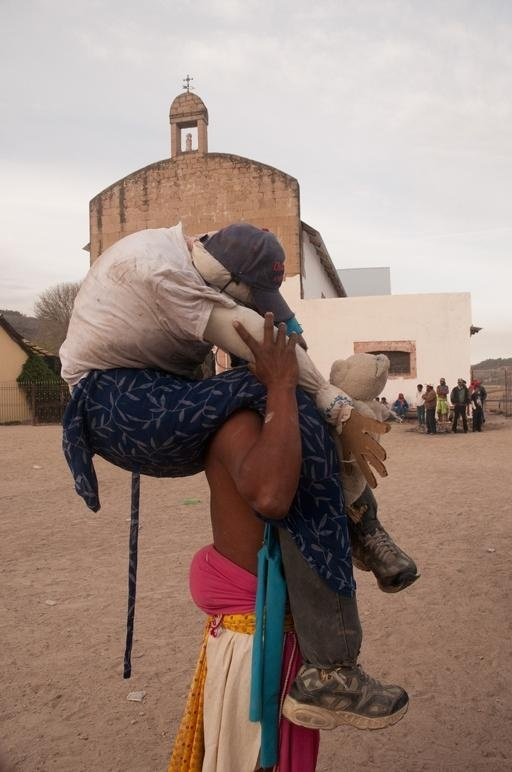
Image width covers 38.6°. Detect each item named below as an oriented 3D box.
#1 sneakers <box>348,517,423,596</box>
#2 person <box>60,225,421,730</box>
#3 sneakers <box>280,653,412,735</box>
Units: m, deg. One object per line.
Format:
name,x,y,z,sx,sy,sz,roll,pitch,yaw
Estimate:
sneakers,0.326,0.438,2.018,0.105,0.134,0.291,-34,26,-9
person,-0.073,0.183,1.851,0.842,1.289,0.489,-7,-17,4
sneakers,0.198,0.716,1.767,0.327,0.224,0.123,-4,2,-3
